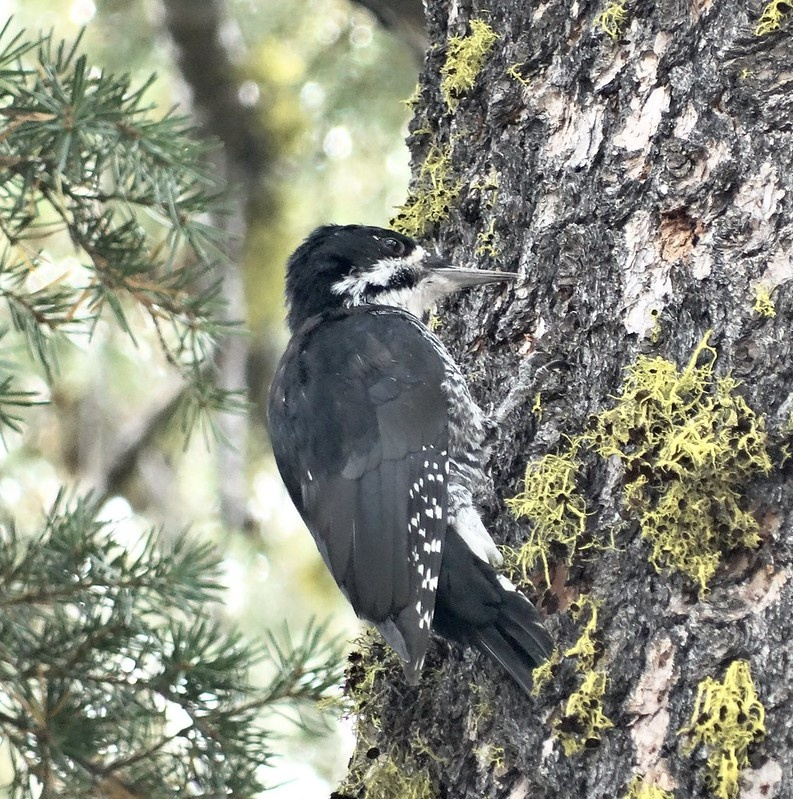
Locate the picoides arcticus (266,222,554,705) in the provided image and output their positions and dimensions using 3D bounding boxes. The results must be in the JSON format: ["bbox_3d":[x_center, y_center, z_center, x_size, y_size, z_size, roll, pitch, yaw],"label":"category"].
[{"bbox_3d":[0.073,0.162,5.774,0.783,1.634,0.522,-7,-32,-11],"label":"picoides arcticus"}]
